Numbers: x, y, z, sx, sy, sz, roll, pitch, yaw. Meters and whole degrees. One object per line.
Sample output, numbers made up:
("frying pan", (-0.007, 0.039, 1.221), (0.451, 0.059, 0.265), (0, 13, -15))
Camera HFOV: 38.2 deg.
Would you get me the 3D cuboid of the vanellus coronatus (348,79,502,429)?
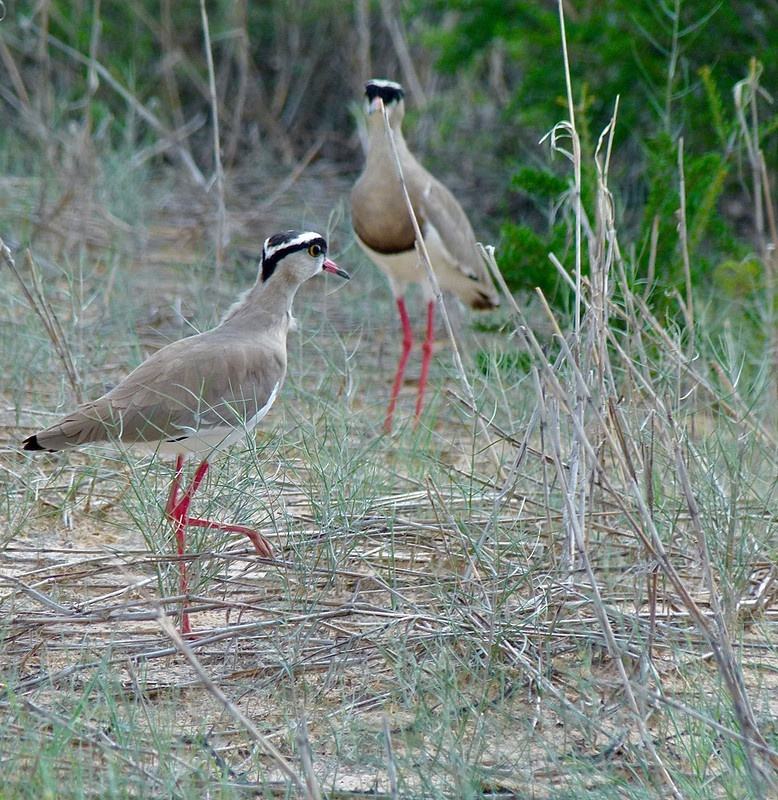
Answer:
("vanellus coronatus", (0.175, -0.834, 5.716), (0.736, 1.940, 1.399), (0, 37, 5))
